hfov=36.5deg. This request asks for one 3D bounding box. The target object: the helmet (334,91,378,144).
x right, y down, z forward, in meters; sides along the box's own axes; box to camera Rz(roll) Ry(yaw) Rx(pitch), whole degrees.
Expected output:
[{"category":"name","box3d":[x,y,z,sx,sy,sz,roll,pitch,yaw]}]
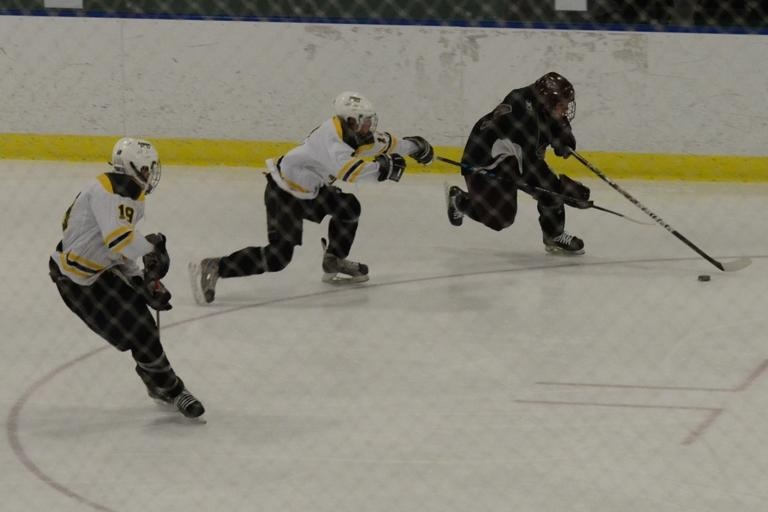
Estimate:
[{"category":"helmet","box3d":[-0.273,-1.077,8.735,0.428,0.384,0.323,2,36,-6]}]

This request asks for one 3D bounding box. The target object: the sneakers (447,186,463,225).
[{"category":"sneakers","box3d":[0.586,-0.425,9.619,0.143,0.329,0.106,11,35,20]}]

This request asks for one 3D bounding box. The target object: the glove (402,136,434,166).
[{"category":"glove","box3d":[0.254,-0.801,9.120,0.260,0.111,0.187,20,35,-35]}]

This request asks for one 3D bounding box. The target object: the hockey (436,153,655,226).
[{"category":"hockey","box3d":[1.364,-0.548,9.869,1.998,0.089,0.157,17,34,3]}]

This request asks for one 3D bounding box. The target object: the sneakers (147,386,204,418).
[{"category":"sneakers","box3d":[-1.370,0.942,7.591,0.432,0.178,0.165,11,32,15]}]

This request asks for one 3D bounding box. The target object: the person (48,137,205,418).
[{"category":"person","box3d":[-1.782,0.128,7.629,0.792,1.514,1.122,-7,32,-14]}]

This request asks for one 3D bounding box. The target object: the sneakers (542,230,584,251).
[{"category":"sneakers","box3d":[1.436,-0.133,9.355,0.315,0.140,0.136,3,41,22]}]

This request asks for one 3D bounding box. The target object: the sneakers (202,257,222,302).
[{"category":"sneakers","box3d":[-1.334,0.174,8.871,0.127,0.330,0.181,6,-2,-12]}]

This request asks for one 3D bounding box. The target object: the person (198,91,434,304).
[{"category":"person","box3d":[-0.562,-0.444,8.900,1.974,1.388,0.871,-8,11,-16]}]

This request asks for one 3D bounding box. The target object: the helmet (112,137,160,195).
[{"category":"helmet","box3d":[-1.647,-0.606,7.784,0.385,0.333,0.317,1,29,-30]}]
